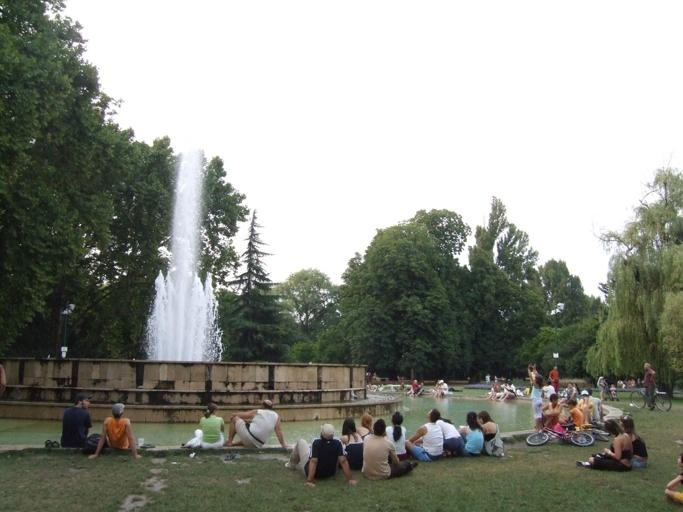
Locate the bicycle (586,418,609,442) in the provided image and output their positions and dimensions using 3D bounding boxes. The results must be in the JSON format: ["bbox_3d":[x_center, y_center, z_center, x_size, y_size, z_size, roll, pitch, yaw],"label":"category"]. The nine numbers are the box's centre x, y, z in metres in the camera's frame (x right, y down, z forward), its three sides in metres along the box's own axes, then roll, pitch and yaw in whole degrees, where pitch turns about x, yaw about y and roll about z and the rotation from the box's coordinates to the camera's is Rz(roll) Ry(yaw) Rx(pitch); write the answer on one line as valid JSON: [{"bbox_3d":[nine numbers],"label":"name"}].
[{"bbox_3d":[8.302,5.616,20.688,0.679,0.606,1.172,-13,-15,37],"label":"bicycle"}]

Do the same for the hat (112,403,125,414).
[{"bbox_3d":[-5.861,4.002,16.821,0.224,0.308,0.197,3,-14,-9],"label":"hat"}]

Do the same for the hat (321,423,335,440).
[{"bbox_3d":[-0.338,4.206,15.723,0.270,0.217,0.399,4,22,-5],"label":"hat"}]

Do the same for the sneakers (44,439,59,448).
[{"bbox_3d":[-7.833,5.050,17.325,0.285,0.138,0.242,1,-7,42],"label":"sneakers"}]

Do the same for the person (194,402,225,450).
[{"bbox_3d":[-3.626,4.803,17.844,0.777,1.184,1.155,1,-18,-6],"label":"person"}]

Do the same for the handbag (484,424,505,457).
[{"bbox_3d":[4.361,5.277,18.482,0.630,1.184,0.814,-2,-10,13],"label":"handbag"}]

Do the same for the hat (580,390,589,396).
[{"bbox_3d":[8.135,4.523,21.448,0.212,0.161,0.306,-11,-31,27],"label":"hat"}]

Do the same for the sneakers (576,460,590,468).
[{"bbox_3d":[6.436,5.502,17.087,0.366,0.154,0.129,3,-7,38],"label":"sneakers"}]
